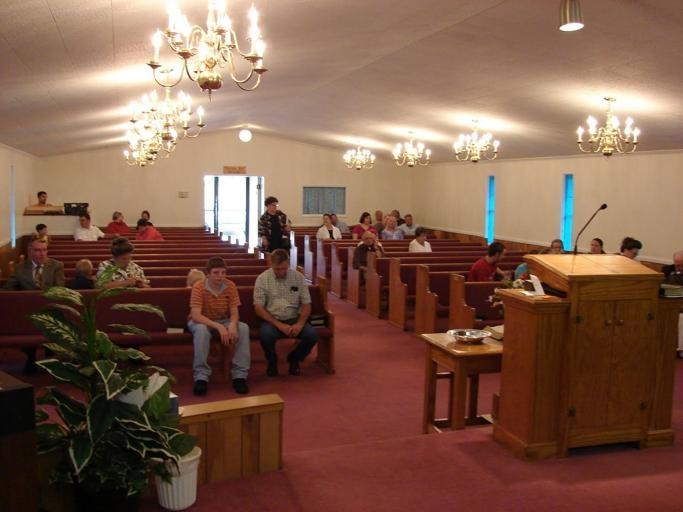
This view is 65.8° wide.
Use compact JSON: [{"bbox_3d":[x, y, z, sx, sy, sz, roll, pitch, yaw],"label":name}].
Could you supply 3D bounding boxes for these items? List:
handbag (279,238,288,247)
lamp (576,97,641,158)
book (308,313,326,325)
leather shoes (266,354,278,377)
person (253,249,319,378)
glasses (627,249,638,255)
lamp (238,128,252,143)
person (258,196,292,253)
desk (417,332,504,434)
[{"bbox_3d":[-0.978,-0.224,9.155,0.105,0.176,0.173,-3,47,9],"label":"handbag"},{"bbox_3d":[3.951,-1.948,7.790,0.954,0.967,0.839,-1,-1,-10],"label":"lamp"},{"bbox_3d":[-0.255,0.695,5.737,0.136,0.098,0.101,1,5,-8],"label":"book"},{"bbox_3d":[-0.725,1.136,5.508,0.098,0.238,0.082,-1,12,-5],"label":"leather shoes"},{"bbox_3d":[-0.598,0.603,5.577,0.638,1.356,0.436,-3,12,-10],"label":"person"},{"bbox_3d":[3.793,-0.046,6.870,0.079,0.045,0.107,5,44,15],"label":"glasses"},{"bbox_3d":[-2.986,-3.748,16.365,0.419,0.406,0.547,-3,13,-10],"label":"lamp"},{"bbox_3d":[-1.129,-0.311,9.046,0.553,1.411,0.428,-5,0,-17],"label":"person"},{"bbox_3d":[0.975,1.051,4.128,0.650,0.727,0.567,3,-1,-12],"label":"desk"}]
